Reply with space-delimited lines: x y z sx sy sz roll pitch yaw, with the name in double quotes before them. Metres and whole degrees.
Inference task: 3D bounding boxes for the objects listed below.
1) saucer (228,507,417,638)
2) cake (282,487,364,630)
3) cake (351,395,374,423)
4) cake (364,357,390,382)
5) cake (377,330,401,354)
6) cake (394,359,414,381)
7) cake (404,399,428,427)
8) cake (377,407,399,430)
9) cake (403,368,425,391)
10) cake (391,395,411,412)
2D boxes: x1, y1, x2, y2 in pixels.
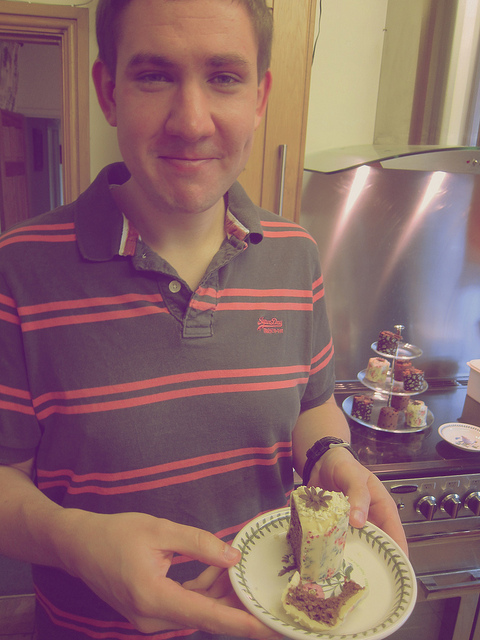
"saucer" 0.114 0.358 0.763 0.201 0.157 0.252 11 19 25
"cake" 0.115 0.345 0.789 0.082 0.066 0.156 -10 42 -10
"cake" 0.399 0.301 1.835 0.075 0.071 0.076 1 3 -35
"cake" 0.487 0.177 1.941 0.085 0.085 0.082 4 -3 5
"cake" 0.539 0.082 1.957 0.046 0.083 0.083 11 5 -45
"cake" 0.606 0.180 1.972 0.079 0.084 0.076 1 11 3
"cake" 0.569 0.305 1.760 0.077 0.080 0.076 0 3 5
"cake" 0.478 0.317 1.749 0.067 0.070 0.065 2 2 -10
"cake" 0.602 0.210 1.920 0.077 0.073 0.071 -10 15 -22
"cake" 0.554 0.285 1.856 0.056 0.057 0.053 3 0 14
